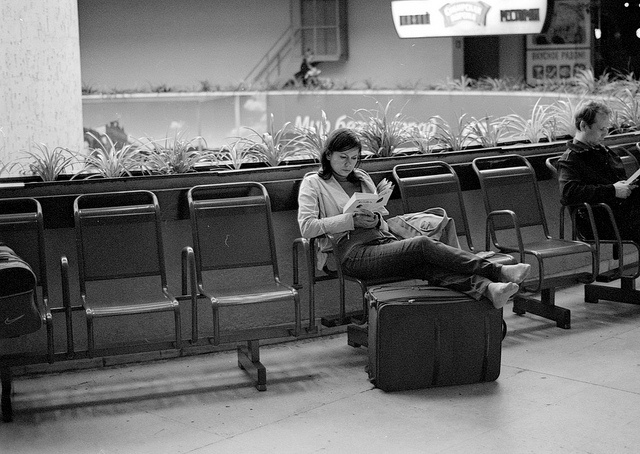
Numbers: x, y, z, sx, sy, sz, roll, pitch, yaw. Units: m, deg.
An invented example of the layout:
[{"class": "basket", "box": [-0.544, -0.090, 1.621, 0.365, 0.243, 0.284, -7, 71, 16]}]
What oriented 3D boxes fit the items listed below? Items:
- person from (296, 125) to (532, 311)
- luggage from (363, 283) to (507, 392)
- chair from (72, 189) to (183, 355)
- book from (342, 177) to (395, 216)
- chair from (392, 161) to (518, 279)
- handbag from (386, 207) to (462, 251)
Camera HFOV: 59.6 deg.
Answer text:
[{"class": "person", "box": [0.573, -0.104, 3.990, 1.479, 1.190, 0.632, 2, 11, 21]}, {"class": "luggage", "box": [0.757, 0.731, 3.802, 0.864, 0.603, 0.465, -3, 5, -9]}, {"class": "chair", "box": [-1.302, 0.264, 3.741, 0.589, 0.959, 0.873, -6, 11, -22]}, {"class": "book", "box": [0.318, -0.161, 4.003, 0.311, 0.110, 0.282, -4, -19, -24]}, {"class": "chair", "box": [1.027, -0.208, 4.819, 0.656, 0.806, 1.004, -12, 12, -35]}, {"class": "handbag", "box": [0.801, -0.050, 4.078, 0.330, 0.377, 0.151, -19, -32, -16]}]
